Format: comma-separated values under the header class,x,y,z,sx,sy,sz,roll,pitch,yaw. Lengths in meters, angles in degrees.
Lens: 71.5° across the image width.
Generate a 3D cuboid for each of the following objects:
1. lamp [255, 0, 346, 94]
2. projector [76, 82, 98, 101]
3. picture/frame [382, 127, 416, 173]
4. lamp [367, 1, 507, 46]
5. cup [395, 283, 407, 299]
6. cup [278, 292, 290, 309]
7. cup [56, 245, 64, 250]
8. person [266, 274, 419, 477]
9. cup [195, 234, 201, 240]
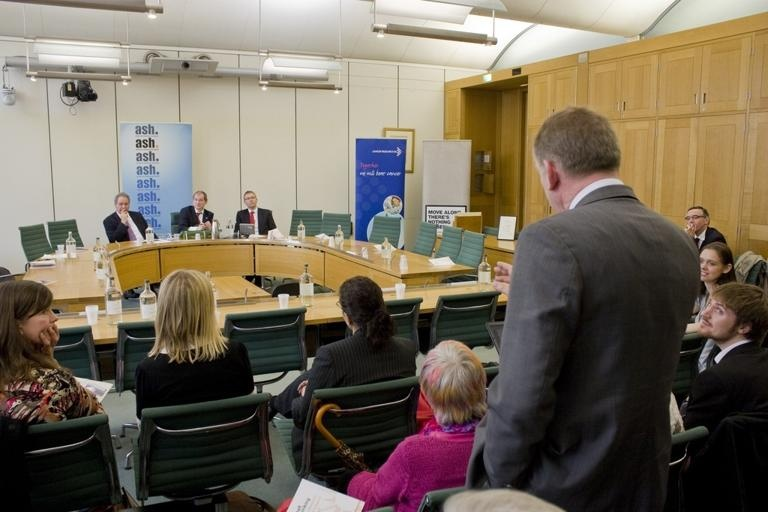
class,x,y,z,sx,sy,sz,roll,pitch,yaw
lamp,-1.469,-3.668,9.144,1.837,2.188,0.646,2,-25,-16
projector,-5.026,-2.753,8.975,0.312,0.315,0.311,2,9,-4
picture/frame,0.380,-2.290,11.598,0.667,0.996,0.256,-9,10,-36
lamp,0.748,-3.325,7.594,2.002,0.884,0.197,2,-17,-21
cup,0.154,0.334,4.952,0.109,0.145,0.118,-1,3,0
cup,-0.868,0.392,4.658,0.124,0.127,0.124,1,5,0
cup,-4.407,-0.119,7.254,0.095,0.075,0.089,1,-2,0
person,-0.437,0.539,3.128,0.594,1.326,1.204,-4,12,-20
cup,-2.824,-0.280,8.075,0.083,0.158,0.084,0,4,0
